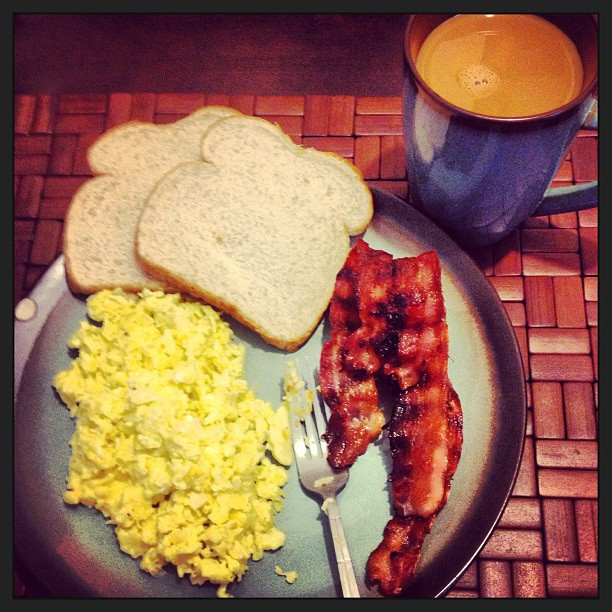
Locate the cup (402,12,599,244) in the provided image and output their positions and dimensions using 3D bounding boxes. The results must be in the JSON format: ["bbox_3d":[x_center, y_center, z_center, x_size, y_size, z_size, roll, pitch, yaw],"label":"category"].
[{"bbox_3d":[0.280,-0.299,1.066,0.283,0.355,0.246,11,66,3],"label":"cup"}]

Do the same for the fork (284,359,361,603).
[{"bbox_3d":[0.008,0.279,1.052,0.068,0.045,0.412,-10,71,-13],"label":"fork"}]
